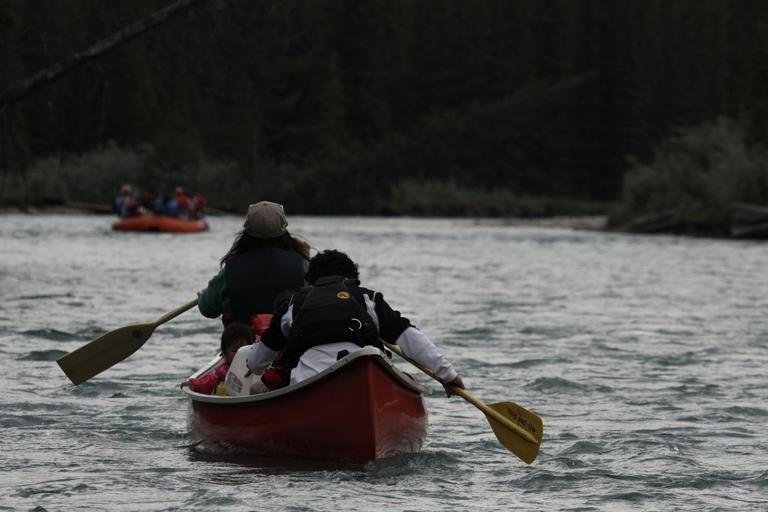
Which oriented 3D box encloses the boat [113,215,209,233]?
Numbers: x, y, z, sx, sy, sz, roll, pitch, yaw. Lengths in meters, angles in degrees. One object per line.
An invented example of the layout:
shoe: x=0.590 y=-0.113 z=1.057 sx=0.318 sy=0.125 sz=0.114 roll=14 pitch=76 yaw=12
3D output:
boat: x=-5.218 y=-0.714 z=35.685 sx=2.360 sy=0.389 sz=0.713 roll=0 pitch=4 yaw=-32

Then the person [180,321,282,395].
person: x=-2.070 y=1.333 z=19.870 sx=0.858 sy=0.499 sz=1.264 roll=3 pitch=27 yaw=0

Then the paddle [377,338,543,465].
paddle: x=1.039 y=1.972 z=20.144 sx=2.945 sy=0.597 sz=0.135 roll=28 pitch=23 yaw=14

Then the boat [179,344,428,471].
boat: x=-0.819 y=2.001 z=20.630 sx=3.469 sy=1.649 sz=4.404 roll=0 pitch=-3 yaw=-17
